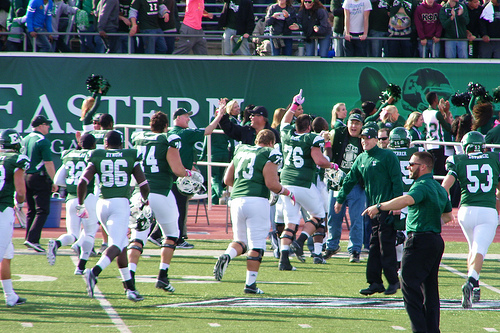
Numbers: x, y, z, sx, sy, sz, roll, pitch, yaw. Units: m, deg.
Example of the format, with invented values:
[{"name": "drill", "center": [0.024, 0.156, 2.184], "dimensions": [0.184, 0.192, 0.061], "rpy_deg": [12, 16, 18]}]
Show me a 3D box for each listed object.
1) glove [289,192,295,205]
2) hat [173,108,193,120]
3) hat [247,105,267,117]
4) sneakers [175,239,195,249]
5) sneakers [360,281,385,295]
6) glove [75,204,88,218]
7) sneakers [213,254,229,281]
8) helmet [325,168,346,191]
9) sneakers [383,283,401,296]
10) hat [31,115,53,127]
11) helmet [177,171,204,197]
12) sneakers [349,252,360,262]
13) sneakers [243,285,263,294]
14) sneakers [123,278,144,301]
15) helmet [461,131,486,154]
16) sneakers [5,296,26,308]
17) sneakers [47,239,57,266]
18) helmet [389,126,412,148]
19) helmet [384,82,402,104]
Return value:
[{"name": "glove", "center": [0.746, 0.577, 20.954], "dimensions": [0.065, 0.187, 0.141], "rpy_deg": [-16, -6, 14]}, {"name": "hat", "center": [-1.226, -0.996, 21.331], "dimensions": [0.327, 0.185, 0.214], "rpy_deg": [-10, 4, -6]}, {"name": "hat", "center": [0.158, -1.028, 21.851], "dimensions": [0.293, 0.175, 0.205], "rpy_deg": [22, 6, -6]}, {"name": "sneakers", "center": [-1.293, 1.538, 23.227], "dimensions": [0.383, 0.184, 0.154], "rpy_deg": [2, 0, 0]}, {"name": "sneakers", "center": [2.178, 2.143, 20.514], "dimensions": [0.516, 0.264, 0.180], "rpy_deg": [-3, 2, -1]}, {"name": "glove", "center": [-3.029, 0.797, 20.917], "dimensions": [0.187, 0.235, 0.104], "rpy_deg": [-26, 20, -34]}, {"name": "sneakers", "center": [-0.487, 1.756, 20.346], "dimensions": [0.190, 0.544, 0.261], "rpy_deg": [19, -6, 13]}, {"name": "helmet", "center": [1.631, 0.206, 22.236], "dimensions": [0.391, 0.478, 0.379], "rpy_deg": [8, 7, 27]}, {"name": "sneakers", "center": [2.512, 2.157, 20.464], "dimensions": [0.358, 0.147, 0.139], "rpy_deg": [-22, 16, -37]}, {"name": "hat", "center": [-4.040, -0.895, 22.655], "dimensions": [0.426, 0.249, 0.297], "rpy_deg": [-4, 7, -30]}, {"name": "helmet", "center": [-1.121, 0.283, 21.285], "dimensions": [0.473, 0.443, 0.370], "rpy_deg": [0, 4, -29]}, {"name": "sneakers", "center": [2.030, 1.731, 22.410], "dimensions": [0.140, 0.171, 0.371], "rpy_deg": [0, -10, 5]}, {"name": "sneakers", "center": [0.052, 2.150, 20.433], "dimensions": [0.362, 0.163, 0.124], "rpy_deg": [2, 1, -20]}, {"name": "sneakers", "center": [-2.025, 2.167, 20.127], "dimensions": [0.189, 0.221, 0.471], "rpy_deg": [-12, -14, 10]}, {"name": "helmet", "center": [3.973, -0.440, 20.619], "dimensions": [0.312, 0.370, 0.414], "rpy_deg": [1, 9, -9]}, {"name": "sneakers", "center": [-3.999, 2.267, 19.864], "dimensions": [0.374, 0.163, 0.135], "rpy_deg": [-14, 26, -27]}, {"name": "sneakers", "center": [-3.618, 1.540, 21.284], "dimensions": [0.162, 0.500, 0.243], "rpy_deg": [-1, 14, -5]}, {"name": "helmet", "center": [2.723, -0.533, 21.039], "dimensions": [0.281, 0.346, 0.398], "rpy_deg": [1, 10, 8]}, {"name": "helmet", "center": [3.060, -1.559, 24.958], "dimensions": [0.410, 0.430, 0.409], "rpy_deg": [4, -7, -8]}]
